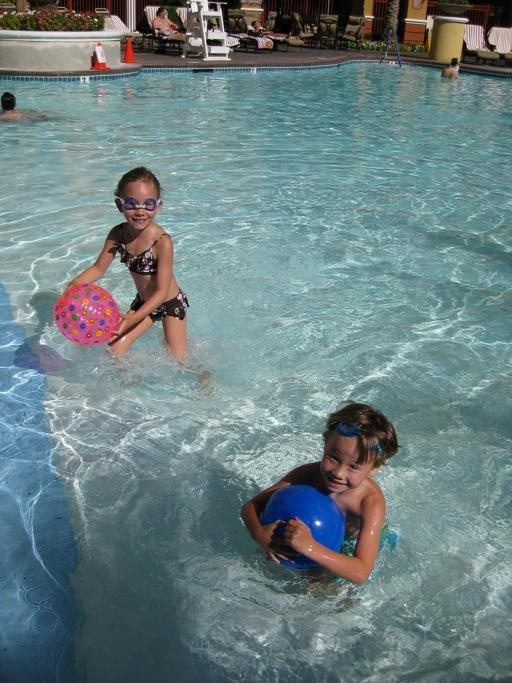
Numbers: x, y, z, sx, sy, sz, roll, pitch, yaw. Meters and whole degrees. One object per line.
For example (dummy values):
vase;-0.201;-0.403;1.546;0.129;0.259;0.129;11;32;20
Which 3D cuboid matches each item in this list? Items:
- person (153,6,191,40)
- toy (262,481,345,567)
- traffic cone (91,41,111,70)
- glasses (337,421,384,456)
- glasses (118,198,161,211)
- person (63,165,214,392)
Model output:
person;-3.062;-10.882;20.262;1.007;1.237;1.635;-2;18;-11
toy;0.178;0.603;1.892;0.245;0.162;0.265;23;-8;43
traffic cone;-4.003;-7.222;15.014;0.409;0.668;0.612;-3;19;-14
glasses;0.309;0.303;1.813;0.133;0.043;0.091;17;12;-19
glasses;-0.573;-0.669;2.880;0.197;0.061;0.096;-3;18;-12
person;-0.619;-0.328;3.218;0.697;1.192;0.520;-6;20;-21
